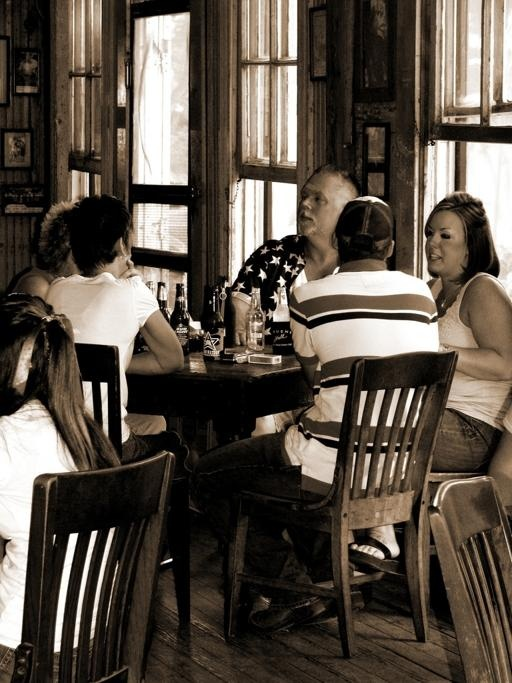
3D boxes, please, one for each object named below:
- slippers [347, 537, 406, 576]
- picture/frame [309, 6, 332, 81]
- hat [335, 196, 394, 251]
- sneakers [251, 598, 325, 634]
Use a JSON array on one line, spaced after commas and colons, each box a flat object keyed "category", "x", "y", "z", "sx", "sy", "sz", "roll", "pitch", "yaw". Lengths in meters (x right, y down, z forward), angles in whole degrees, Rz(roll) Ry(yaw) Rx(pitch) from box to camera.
[{"category": "slippers", "x": 0.358, "y": 0.651, "z": 2.504, "sx": 0.081, "sy": 0.066, "sz": 0.157, "roll": 0, "pitch": -26, "yaw": 43}, {"category": "picture/frame", "x": 0.304, "y": -1.397, "z": 3.903, "sx": 0.021, "sy": 0.382, "sz": 0.263, "roll": -5, "pitch": 10, "yaw": -23}, {"category": "hat", "x": 0.304, "y": -0.360, "z": 2.369, "sx": 0.147, "sy": 0.151, "sz": 0.281, "roll": 13, "pitch": 17, "yaw": 11}, {"category": "sneakers", "x": 0.098, "y": 0.828, "z": 2.547, "sx": 0.168, "sy": 0.092, "sz": 0.108, "roll": -7, "pitch": -15, "yaw": -33}]
